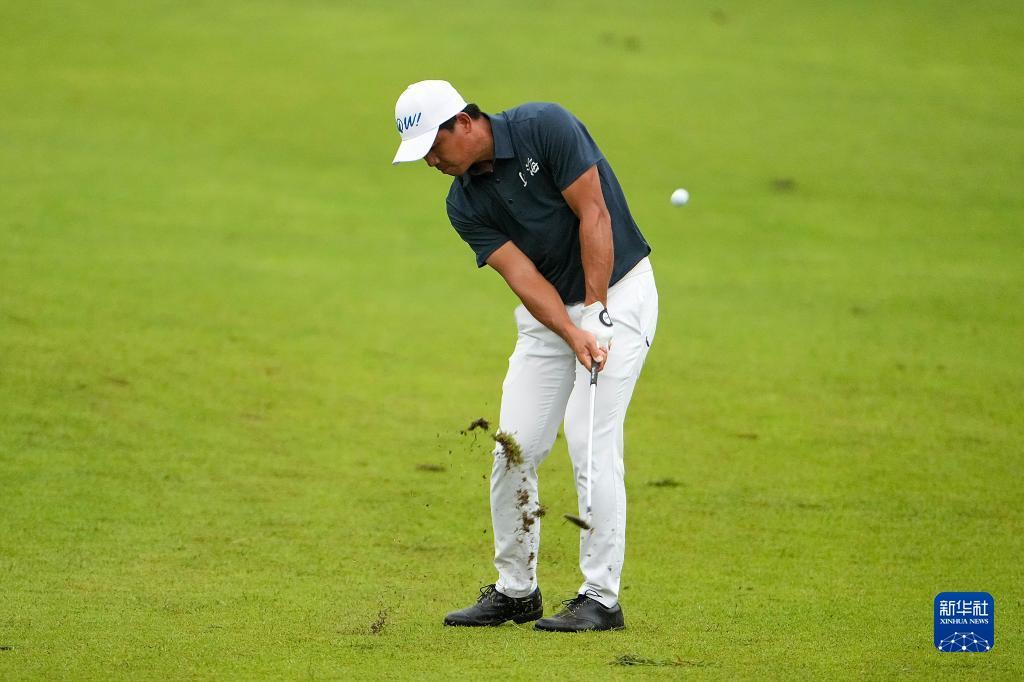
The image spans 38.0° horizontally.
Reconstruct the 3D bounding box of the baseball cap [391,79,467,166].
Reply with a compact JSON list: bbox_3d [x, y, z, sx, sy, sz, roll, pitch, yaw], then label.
[{"bbox_3d":[-0.290,-0.748,5.158,0.244,0.306,0.145,6,-8,17],"label":"baseball cap"}]

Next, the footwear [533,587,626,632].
[{"bbox_3d":[0.251,0.943,5.228,0.245,0.089,0.136,2,-5,-4],"label":"footwear"}]

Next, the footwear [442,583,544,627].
[{"bbox_3d":[-0.057,0.948,5.365,0.386,0.169,0.136,0,-5,-3],"label":"footwear"}]

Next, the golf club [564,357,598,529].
[{"bbox_3d":[0.269,0.362,5.135,0.060,0.569,0.109,4,-8,31],"label":"golf club"}]
